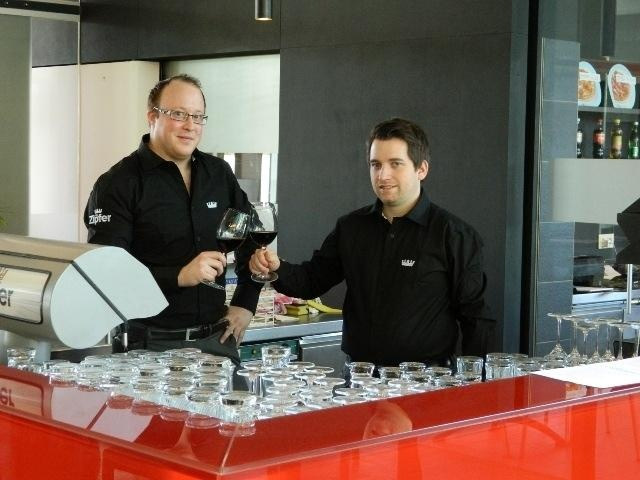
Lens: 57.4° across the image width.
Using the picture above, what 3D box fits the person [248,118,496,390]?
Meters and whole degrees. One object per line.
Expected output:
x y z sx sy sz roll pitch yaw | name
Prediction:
0.122 0.015 3.080 1.200 1.669 1.045 -3 -7 40 | person
